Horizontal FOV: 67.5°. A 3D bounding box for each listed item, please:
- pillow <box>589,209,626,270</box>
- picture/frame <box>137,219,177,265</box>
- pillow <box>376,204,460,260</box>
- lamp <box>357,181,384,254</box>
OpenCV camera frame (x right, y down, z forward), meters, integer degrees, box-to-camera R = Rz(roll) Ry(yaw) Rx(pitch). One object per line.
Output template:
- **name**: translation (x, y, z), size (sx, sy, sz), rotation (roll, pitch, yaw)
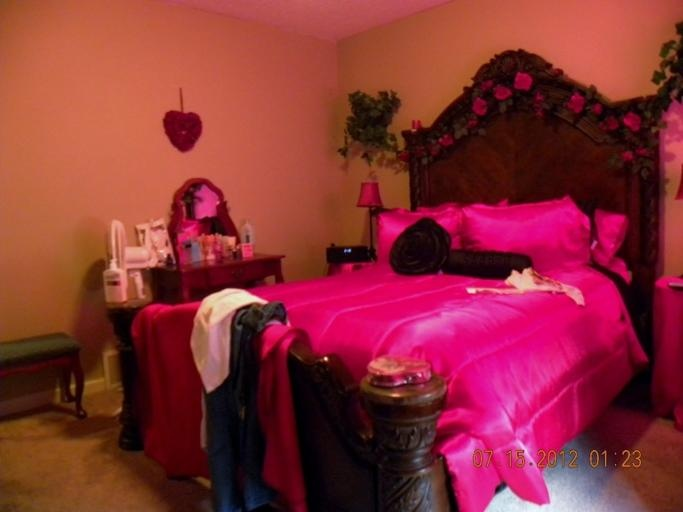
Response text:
- **pillow**: translation (1.899, -0.102, 3.720), size (0.129, 0.382, 0.273), rotation (-1, 11, -36)
- **picture/frame**: translation (-1.545, -0.094, 4.308), size (0.277, 0.386, 0.112), rotation (-16, -3, -34)
- **pillow**: translation (0.596, -0.262, 4.062), size (0.470, 0.172, 0.490), rotation (-9, 27, 30)
- **lamp**: translation (0.275, -0.357, 5.020), size (0.212, 0.706, 0.223), rotation (0, 6, 14)
